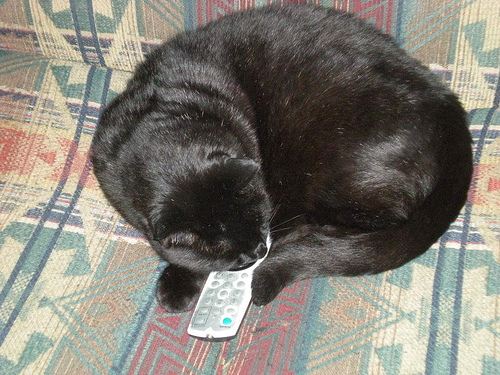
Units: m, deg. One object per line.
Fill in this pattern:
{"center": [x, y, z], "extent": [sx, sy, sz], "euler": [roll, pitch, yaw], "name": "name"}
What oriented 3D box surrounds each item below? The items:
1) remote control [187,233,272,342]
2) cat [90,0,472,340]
{"center": [-0.073, 0.333, 1.467], "extent": [0.161, 0.206, 0.225], "euler": [12, 8, 1], "name": "remote control"}
{"center": [0.243, 0.018, 1.801], "extent": [1.170, 1.215, 0.358], "euler": [23, -31, 28], "name": "cat"}
